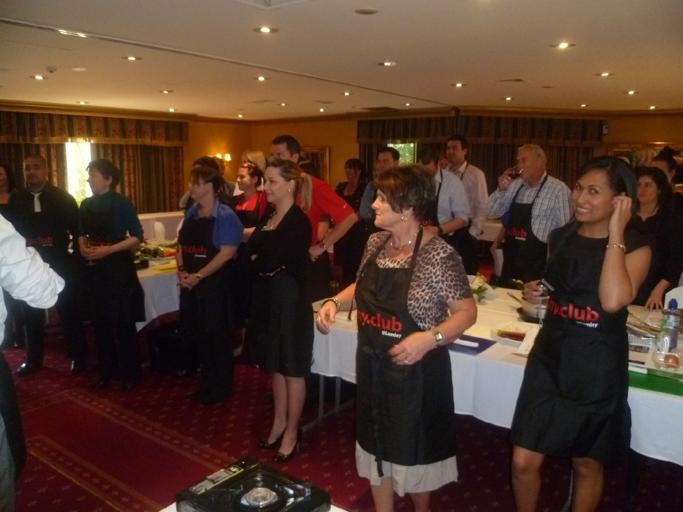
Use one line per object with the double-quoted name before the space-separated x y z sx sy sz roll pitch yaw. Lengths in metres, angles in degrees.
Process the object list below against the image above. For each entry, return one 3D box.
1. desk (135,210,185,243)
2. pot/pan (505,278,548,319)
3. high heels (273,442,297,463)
"desk" -2.256 -0.355 6.277 0.304 0.409 0.578 0 3 40
"pot/pan" 1.098 0.243 2.907 0.201 0.115 0.254 -3 0 4
"high heels" -0.368 1.279 3.297 0.078 0.070 0.149 -1 -1 44
